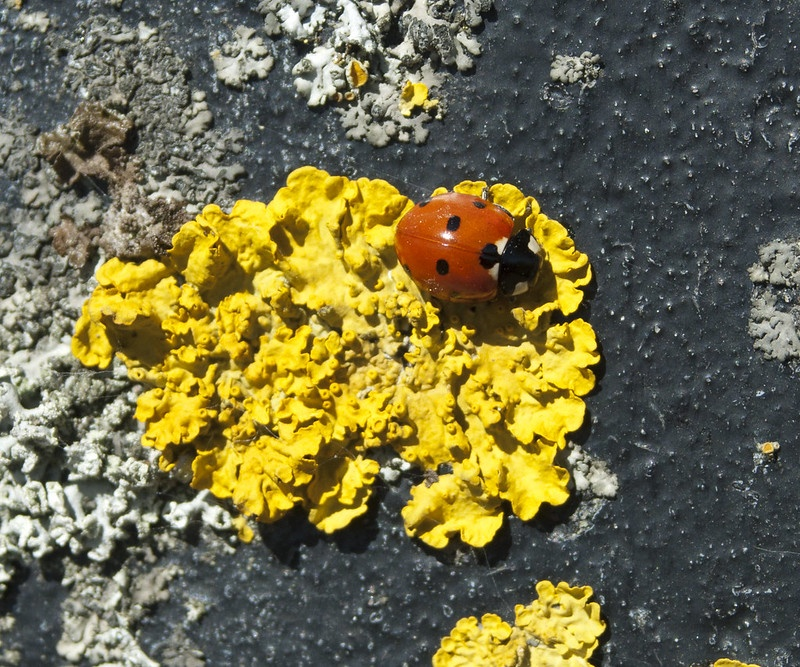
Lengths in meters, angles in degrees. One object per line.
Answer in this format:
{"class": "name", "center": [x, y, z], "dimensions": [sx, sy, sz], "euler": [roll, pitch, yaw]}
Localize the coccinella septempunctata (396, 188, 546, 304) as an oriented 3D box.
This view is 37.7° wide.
{"class": "coccinella septempunctata", "center": [0.356, -0.531, 6.324], "dimensions": [0.677, 0.728, 0.561], "euler": [-26, 116, -23]}
